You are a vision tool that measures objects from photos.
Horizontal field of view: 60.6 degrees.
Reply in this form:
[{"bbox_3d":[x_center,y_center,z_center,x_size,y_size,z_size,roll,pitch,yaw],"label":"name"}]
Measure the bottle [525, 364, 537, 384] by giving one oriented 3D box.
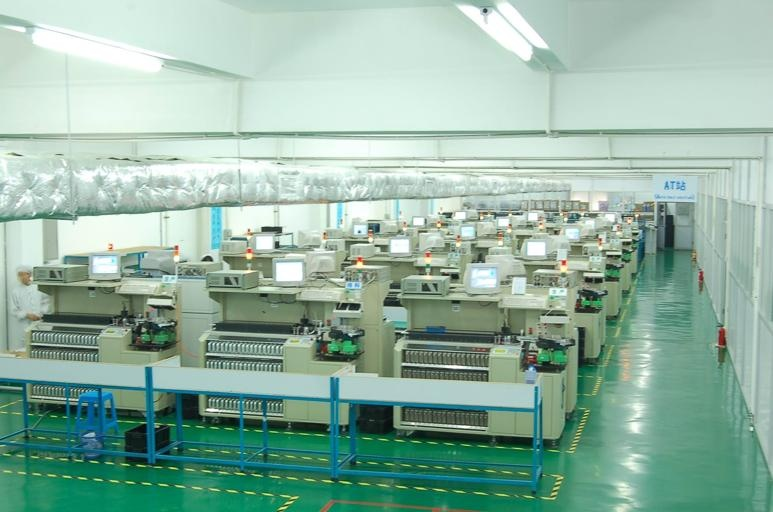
[{"bbox_3d":[2.041,1.669,9.339,0.137,0.223,0.296,1,9,8],"label":"bottle"}]
